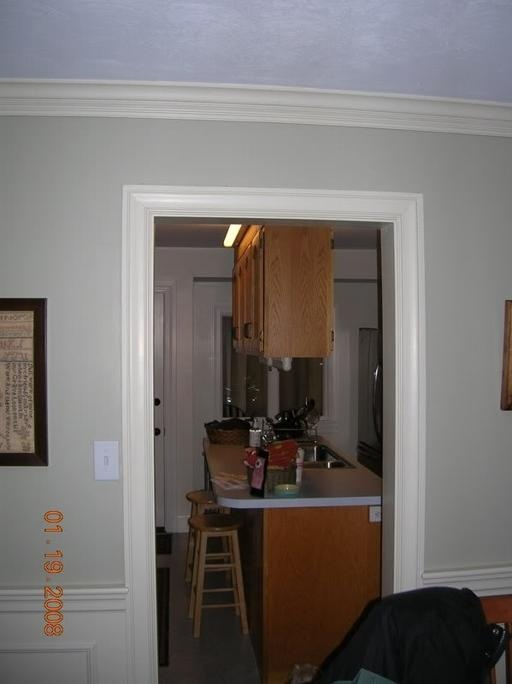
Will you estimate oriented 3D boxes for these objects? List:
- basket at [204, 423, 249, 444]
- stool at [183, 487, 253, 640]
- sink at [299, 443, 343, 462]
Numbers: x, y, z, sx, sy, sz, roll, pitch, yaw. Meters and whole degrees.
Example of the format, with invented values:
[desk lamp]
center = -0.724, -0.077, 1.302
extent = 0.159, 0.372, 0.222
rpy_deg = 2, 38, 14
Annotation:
[basket]
center = -0.228, 0.668, 4.363
extent = 0.374, 0.178, 0.233
rpy_deg = -2, -2, 15
[stool]
center = -0.216, 1.297, 3.380
extent = 0.261, 0.602, 0.855
rpy_deg = -2, 2, -6
[sink]
center = 0.414, 0.737, 3.914
extent = 0.173, 0.104, 0.284
rpy_deg = 1, -3, 0
